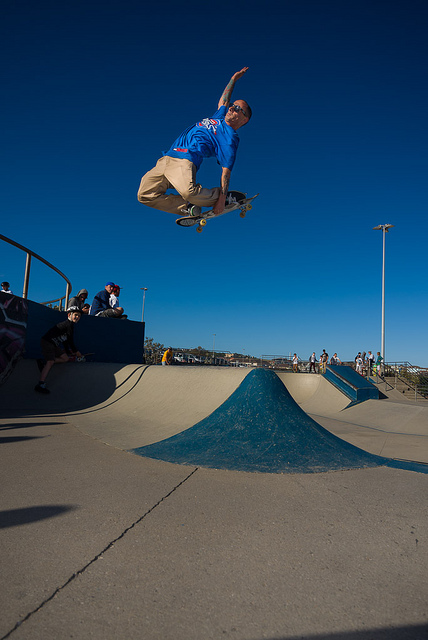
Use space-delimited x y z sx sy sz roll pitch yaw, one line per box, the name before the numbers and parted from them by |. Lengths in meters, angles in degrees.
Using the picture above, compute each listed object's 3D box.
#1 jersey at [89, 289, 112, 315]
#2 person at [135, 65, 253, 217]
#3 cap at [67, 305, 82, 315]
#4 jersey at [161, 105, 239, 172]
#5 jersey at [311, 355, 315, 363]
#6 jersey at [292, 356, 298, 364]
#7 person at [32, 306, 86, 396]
jersey | -2.169 -0.303 9.165 0.273 0.466 0.408 7 6 -33
person | -0.057 -1.960 5.143 1.069 1.796 0.749 18 -11 -32
cap | -2.042 -0.150 6.997 0.172 0.070 0.136 -6 -23 20
jersey | -0.172 -1.879 4.866 0.682 0.532 0.362 1 0 -1
jersey | 3.749 1.664 20.210 0.131 0.242 0.058 -2 -11 33
jersey | 3.190 1.797 20.936 0.106 0.249 0.138 8 -3 -8
person | -2.202 0.451 6.749 0.761 1.494 0.392 5 30 -24
